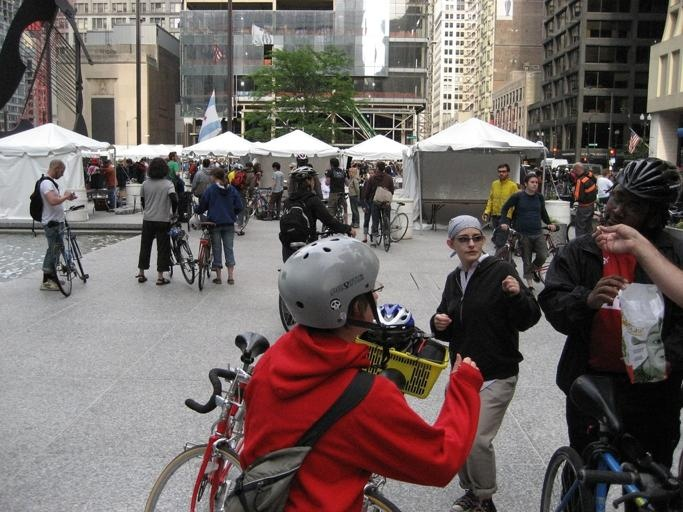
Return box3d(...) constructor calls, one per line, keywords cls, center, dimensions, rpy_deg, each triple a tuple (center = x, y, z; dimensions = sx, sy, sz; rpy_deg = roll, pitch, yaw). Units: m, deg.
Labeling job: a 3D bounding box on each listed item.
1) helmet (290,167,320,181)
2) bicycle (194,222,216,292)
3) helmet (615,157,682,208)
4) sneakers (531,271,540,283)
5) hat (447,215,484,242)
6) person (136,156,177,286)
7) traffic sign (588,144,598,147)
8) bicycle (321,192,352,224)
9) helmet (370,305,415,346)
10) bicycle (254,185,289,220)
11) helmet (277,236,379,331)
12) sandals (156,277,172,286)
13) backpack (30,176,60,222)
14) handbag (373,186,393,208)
box3d(cls="helmet", center=(-0.513, -1.198, 9.023), dimensions=(0.304, 0.110, 0.221), rpy_deg=(-10, 15, -32))
box3d(cls="bicycle", center=(-2.546, -0.070, 11.752), dimensions=(0.319, 1.189, 1.254), rpy_deg=(-3, 10, -12))
box3d(cls="helmet", center=(1.578, -0.368, 3.201), dimensions=(0.310, 0.256, 0.213), rpy_deg=(3, 10, 24))
box3d(cls="sneakers", center=(3.514, 0.378, 11.199), dimensions=(0.139, 0.205, 0.185), rpy_deg=(11, -3, 32))
box3d(cls="hat", center=(0.925, -0.239, 4.666), dimensions=(0.203, 0.178, 0.193), rpy_deg=(-11, 18, -4))
box3d(cls="person", center=(-3.435, -0.625, 11.643), dimensions=(0.797, 2.313, 0.505), rpy_deg=(-3, 9, -12))
box3d(cls="traffic sign", center=(31.295, -13.630, 77.574), dimensions=(1.264, 0.500, 0.195), rpy_deg=(-3, 9, -12))
box3d(cls="bicycle", center=(-0.123, -1.651, 21.212), dimensions=(0.922, 1.100, 1.620), rpy_deg=(0, 14, -2))
box3d(cls="helmet", center=(0.302, 0.376, 3.617), dimensions=(0.192, 0.184, 0.267), rpy_deg=(9, 17, 26))
box3d(cls="bicycle", center=(-2.844, -2.079, 25.459), dimensions=(1.001, 1.480, 2.390), rpy_deg=(0, 17, -6))
box3d(cls="helmet", center=(-0.003, 0.090, 2.518), dimensions=(0.391, 0.314, 0.296), rpy_deg=(-23, 28, -31))
box3d(cls="sandals", center=(-3.315, 0.479, 11.711), dimensions=(0.252, 0.113, 0.102), rpy_deg=(2, 10, 20))
box3d(cls="backpack", center=(-5.192, -0.995, 10.906), dimensions=(0.419, 0.797, 0.514), rpy_deg=(-5, 10, -26))
box3d(cls="handbag", center=(1.106, -1.577, 16.850), dimensions=(0.450, 0.491, 0.231), rpy_deg=(18, -28, -8))
